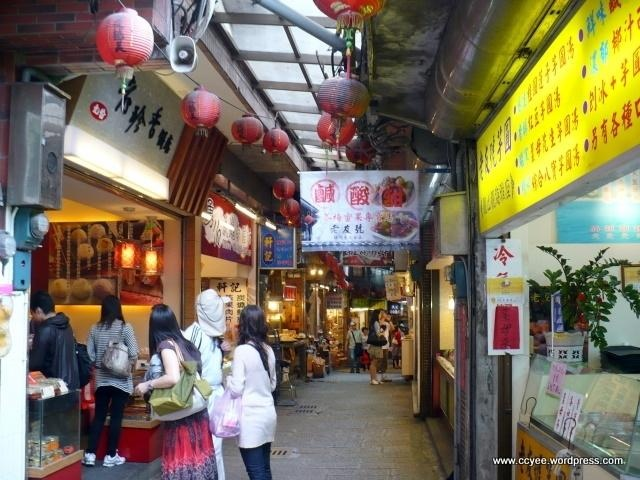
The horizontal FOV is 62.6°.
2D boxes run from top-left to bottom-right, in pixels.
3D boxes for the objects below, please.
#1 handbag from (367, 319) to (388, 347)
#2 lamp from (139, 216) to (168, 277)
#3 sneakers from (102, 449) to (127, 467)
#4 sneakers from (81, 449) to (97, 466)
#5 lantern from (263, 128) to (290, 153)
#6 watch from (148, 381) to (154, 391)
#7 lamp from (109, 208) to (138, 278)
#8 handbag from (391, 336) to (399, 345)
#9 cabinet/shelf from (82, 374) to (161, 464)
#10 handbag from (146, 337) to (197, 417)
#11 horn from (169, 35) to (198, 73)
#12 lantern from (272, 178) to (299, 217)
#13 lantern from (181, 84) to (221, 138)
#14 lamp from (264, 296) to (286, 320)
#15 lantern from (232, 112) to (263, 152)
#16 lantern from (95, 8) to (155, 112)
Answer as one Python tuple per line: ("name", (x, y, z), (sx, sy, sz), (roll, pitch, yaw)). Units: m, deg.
("handbag", (1.521, 2.477, 14.341), (0.480, 0.935, 0.702), (-2, -6, -7))
("lamp", (-2.798, 0.123, 8.688), (0.443, 0.957, 0.341), (6, -9, -43))
("sneakers", (-2.578, 2.749, 6.638), (0.300, 0.207, 0.117), (-1, 2, -39))
("sneakers", (-2.949, 2.749, 6.738), (0.140, 0.189, 0.396), (2, -6, -10))
("lantern", (-0.590, -1.289, 6.973), (0.279, 0.333, 0.311), (0, 1, -13))
("watch", (-1.433, 1.235, 4.438), (0.015, 0.071, 0.069), (7, -29, -7))
("lamp", (-3.147, 0.072, 8.544), (0.333, 0.922, 0.837), (2, -8, -21))
("handbag", (2.945, 3.951, 20.537), (0.213, 0.346, 0.331), (0, -2, 14))
("cabinet/shelf", (-2.575, 2.323, 7.013), (0.864, 1.020, 0.688), (0, -4, 5))
("handbag", (-1.307, 1.117, 4.839), (0.401, 0.944, 0.820), (-2, -13, -4))
("horn", (-1.120, -1.508, 4.389), (0.213, 0.270, 0.355), (0, 3, -5))
("lantern", (-0.666, -0.869, 10.523), (0.394, 0.470, 0.973), (-10, 28, 8))
("lantern", (-1.238, -1.327, 5.613), (0.432, 0.656, 0.474), (-2, 2, -8))
("lamp", (-1.363, 2.106, 16.016), (0.539, 0.889, 0.763), (-2, -6, 3))
("lantern", (-0.911, -1.351, 6.620), (0.325, 0.438, 0.376), (2, 3, 3))
("lantern", (-1.513, -1.451, 4.069), (0.397, 0.805, 0.252), (3, -7, -27))
